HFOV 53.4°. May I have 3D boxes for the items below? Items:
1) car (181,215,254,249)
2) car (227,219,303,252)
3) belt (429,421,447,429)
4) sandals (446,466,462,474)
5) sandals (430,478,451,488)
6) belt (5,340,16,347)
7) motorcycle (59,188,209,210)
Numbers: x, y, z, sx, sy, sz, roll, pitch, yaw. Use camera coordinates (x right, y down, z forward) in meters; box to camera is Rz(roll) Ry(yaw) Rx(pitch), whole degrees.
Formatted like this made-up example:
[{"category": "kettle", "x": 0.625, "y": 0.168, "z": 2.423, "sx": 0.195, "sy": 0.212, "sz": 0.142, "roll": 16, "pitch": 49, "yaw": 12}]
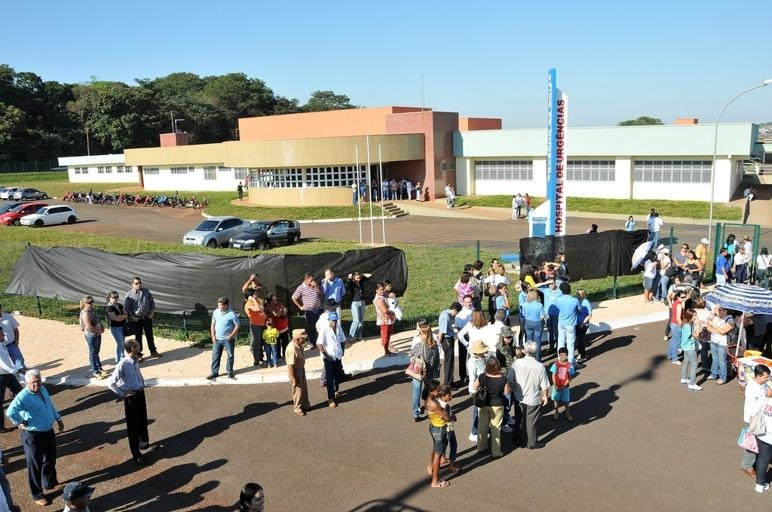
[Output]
[{"category": "car", "x": -8.756, "y": -1.245, "z": 39.060, "sx": 1.504, "sy": 1.236, "sz": 2.687, "roll": 3, "pitch": 7, "yaw": 36}, {"category": "car", "x": -6.092, "y": -1.036, "z": 38.687, "sx": 2.750, "sy": 1.204, "sz": 1.620, "roll": -3, "pitch": 6, "yaw": -42}, {"category": "belt", "x": 1.251, "y": 4.001, "z": 18.136, "sx": 0.394, "sy": 0.134, "sz": 0.124, "roll": -2, "pitch": 8, "yaw": -1}, {"category": "sandals", "x": 1.649, "y": 5.157, "z": 18.625, "sx": 0.292, "sy": 0.172, "sz": 0.186, "roll": -1, "pitch": 8, "yaw": 4}, {"category": "sandals", "x": 1.271, "y": 5.418, "z": 18.221, "sx": 0.356, "sy": 0.265, "sz": 0.180, "roll": -5, "pitch": 35, "yaw": 1}, {"category": "belt", "x": -10.068, "y": 2.361, "z": 20.664, "sx": 0.154, "sy": 0.142, "sz": 0.116, "roll": -4, "pitch": -3, "yaw": 45}, {"category": "motorcycle", "x": -19.959, "y": -4.526, "z": 61.628, "sx": 10.447, "sy": 1.572, "sz": 0.631, "roll": 0, "pitch": 10, "yaw": 10}]
